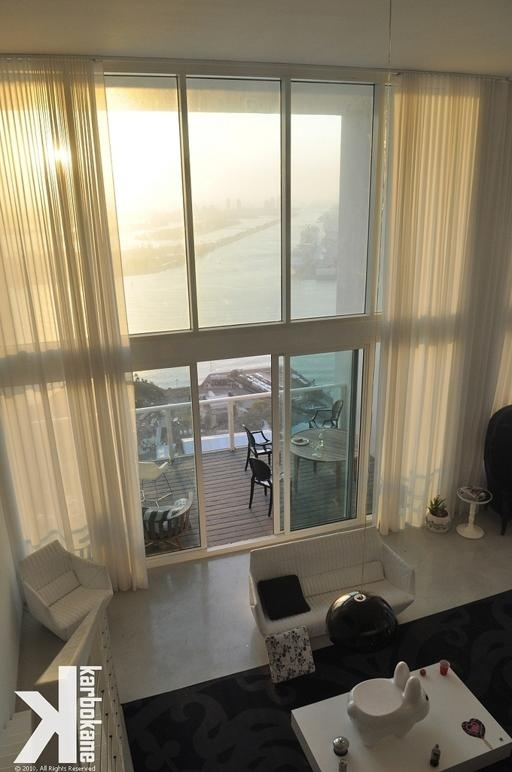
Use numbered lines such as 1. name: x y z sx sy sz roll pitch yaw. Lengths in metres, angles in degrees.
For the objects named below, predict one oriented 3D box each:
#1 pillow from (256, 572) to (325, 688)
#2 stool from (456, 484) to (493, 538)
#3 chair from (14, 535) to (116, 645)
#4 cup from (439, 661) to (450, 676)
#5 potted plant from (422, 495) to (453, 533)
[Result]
1. pillow: 0.283 2.373 5.130 0.380 0.270 0.804 -8 45 -1
2. stool: 3.084 1.815 7.384 0.476 0.600 0.488 14 20 40
3. chair: -1.984 2.174 5.321 0.671 0.909 0.782 4 13 23
4. cup: 1.673 2.520 4.601 0.091 0.100 0.097 -2 22 1
5. potted plant: 2.587 1.836 7.386 0.332 0.490 0.203 9 17 35
